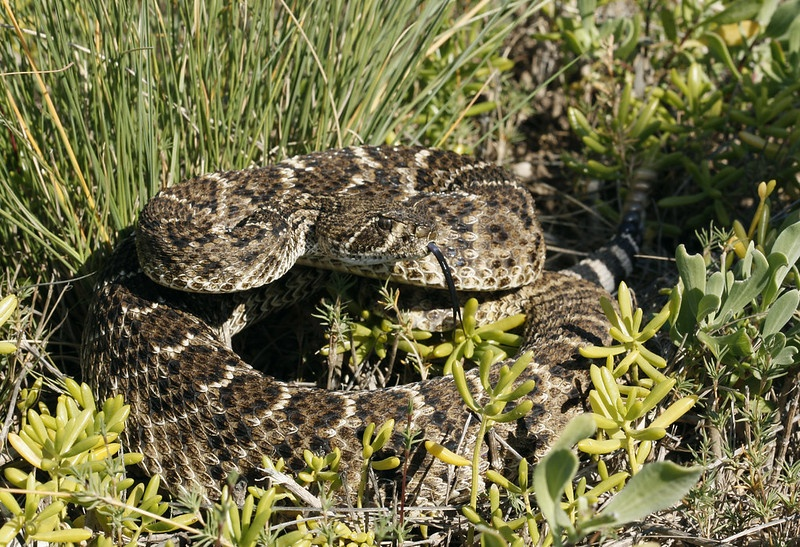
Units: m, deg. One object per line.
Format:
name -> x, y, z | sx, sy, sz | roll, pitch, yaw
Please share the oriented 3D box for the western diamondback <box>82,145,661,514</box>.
western diamondback -> -0.275, 0.233, 5.459 | 2.996, 0.898, 2.586 | -26, 56, -22
